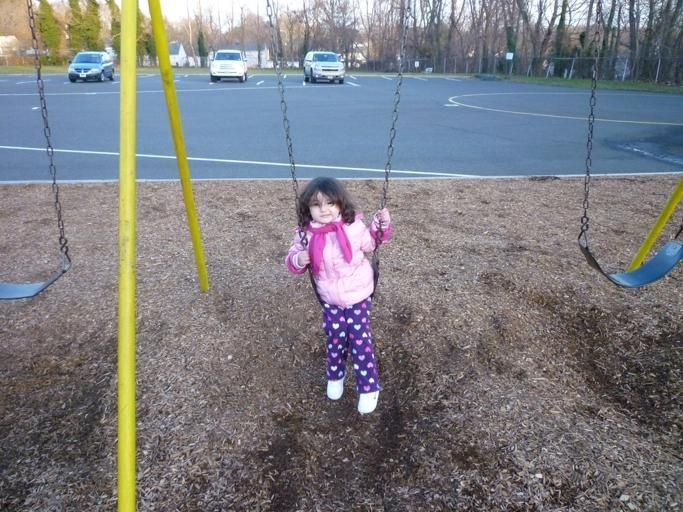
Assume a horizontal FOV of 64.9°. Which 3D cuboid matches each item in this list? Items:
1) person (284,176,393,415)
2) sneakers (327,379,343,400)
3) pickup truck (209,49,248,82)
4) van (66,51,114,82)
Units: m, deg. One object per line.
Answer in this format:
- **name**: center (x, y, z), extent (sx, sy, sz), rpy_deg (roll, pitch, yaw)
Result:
- **person**: center (0.013, 0.313, 3.771), extent (0.714, 1.661, 0.586), rpy_deg (-4, 21, 4)
- **sneakers**: center (-0.048, 0.968, 3.901), extent (0.081, 0.112, 0.166), rpy_deg (-1, 15, 2)
- **pickup truck**: center (-5.452, -9.422, 26.630), extent (1.072, 1.084, 2.305), rpy_deg (-1, 14, -2)
- **van**: center (-10.989, -8.395, 23.912), extent (1.255, 1.134, 2.479), rpy_deg (-2, 14, -4)
